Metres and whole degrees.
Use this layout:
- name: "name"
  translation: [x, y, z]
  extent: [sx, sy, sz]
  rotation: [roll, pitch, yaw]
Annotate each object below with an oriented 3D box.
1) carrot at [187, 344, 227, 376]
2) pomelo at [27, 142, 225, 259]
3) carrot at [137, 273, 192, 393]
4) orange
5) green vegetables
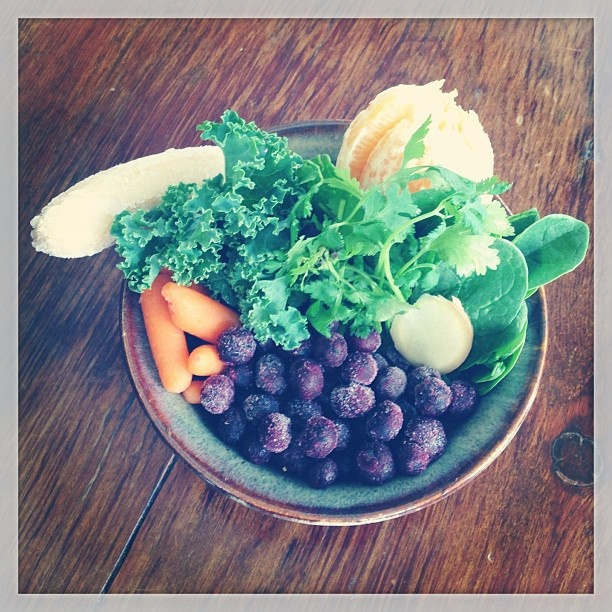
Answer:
- name: "carrot"
  translation: [-0.158, 0.087, 1.122]
  extent: [0.057, 0.020, 0.047]
  rotation: [6, 78, -12]
- name: "pomelo"
  translation: [-0.339, -0.171, 1.240]
  extent: [0.250, 0.203, 0.255]
  rotation: [27, 43, 30]
- name: "carrot"
  translation: [-0.230, 0.050, 1.170]
  extent: [0.071, 0.068, 0.208]
  rotation: [-22, 84, -14]
- name: "orange"
  translation: [0.132, -0.292, 1.201]
  extent: [0.323, 0.182, 0.225]
  rotation: [-3, 38, -6]
- name: "green vegetables"
  translation: [0.150, -0.104, 1.074]
  extent: [0.357, 0.282, 0.288]
  rotation: [9, 66, 2]
